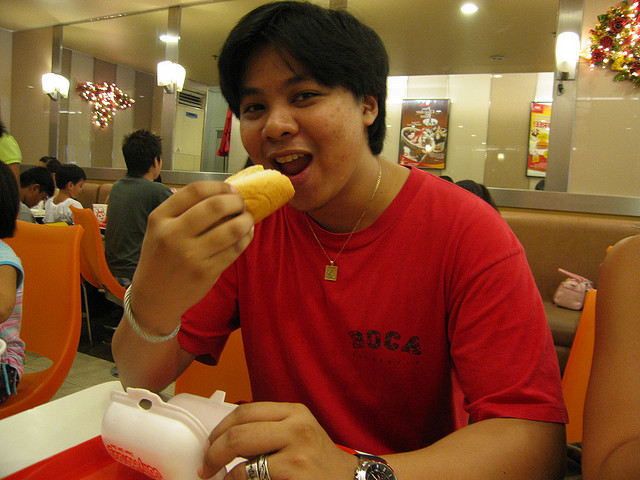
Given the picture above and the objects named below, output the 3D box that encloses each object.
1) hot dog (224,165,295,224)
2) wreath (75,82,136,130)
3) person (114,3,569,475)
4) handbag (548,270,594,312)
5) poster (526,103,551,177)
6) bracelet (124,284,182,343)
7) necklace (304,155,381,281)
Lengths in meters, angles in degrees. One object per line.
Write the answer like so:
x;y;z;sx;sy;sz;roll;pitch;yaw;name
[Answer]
-0.147;-0.151;1.346;0.042;0.127;0.137;-35;-16;22;hot dog
-3.516;-2.198;8.318;0.877;0.793;0.342;0;8;-26;wreath
0.043;-0.021;1.395;1.057;1.280;0.765;1;7;-19;person
1.643;0.329;3.324;0.106;0.214;0.213;24;-4;-31;handbag
2.901;-1.346;6.804;0.245;0.982;0.262;5;8;19;poster
-0.451;0.196;1.357;0.149;0.164;0.073;2;7;-9;bracelet
0.067;-0.072;1.565;0.231;0.370;0.140;3;7;-3;necklace
